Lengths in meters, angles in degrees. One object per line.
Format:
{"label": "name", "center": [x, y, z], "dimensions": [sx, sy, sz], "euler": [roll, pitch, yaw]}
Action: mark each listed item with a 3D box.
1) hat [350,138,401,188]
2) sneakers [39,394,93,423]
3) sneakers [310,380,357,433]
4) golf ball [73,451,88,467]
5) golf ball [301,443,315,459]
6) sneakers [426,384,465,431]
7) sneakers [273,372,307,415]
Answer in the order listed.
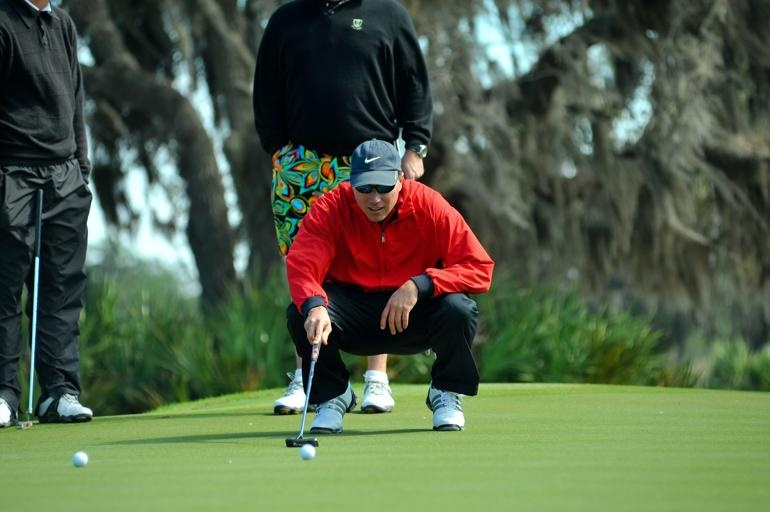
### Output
{"label": "hat", "center": [-0.070, -0.610, 7.575], "dimensions": [0.347, 0.303, 0.181], "euler": [-1, 7, -3]}
{"label": "sneakers", "center": [-2.345, 1.110, 8.242], "dimensions": [0.452, 0.263, 0.175], "euler": [0, -6, 12]}
{"label": "sneakers", "center": [-0.358, 1.054, 7.690], "dimensions": [0.131, 0.204, 0.440], "euler": [-4, 5, 16]}
{"label": "golf ball", "center": [-1.855, 1.220, 6.811], "dimensions": [0.090, 0.074, 0.074], "euler": [-4, 8, -25]}
{"label": "golf ball", "center": [-0.474, 1.176, 6.847], "dimensions": [0.073, 0.080, 0.091], "euler": [0, -41, -28]}
{"label": "sneakers", "center": [0.406, 1.017, 7.619], "dimensions": [0.254, 0.245, 0.357], "euler": [-1, 8, 2]}
{"label": "sneakers", "center": [-0.665, 1.036, 8.396], "dimensions": [0.155, 0.253, 0.481], "euler": [-3, -7, 17]}
